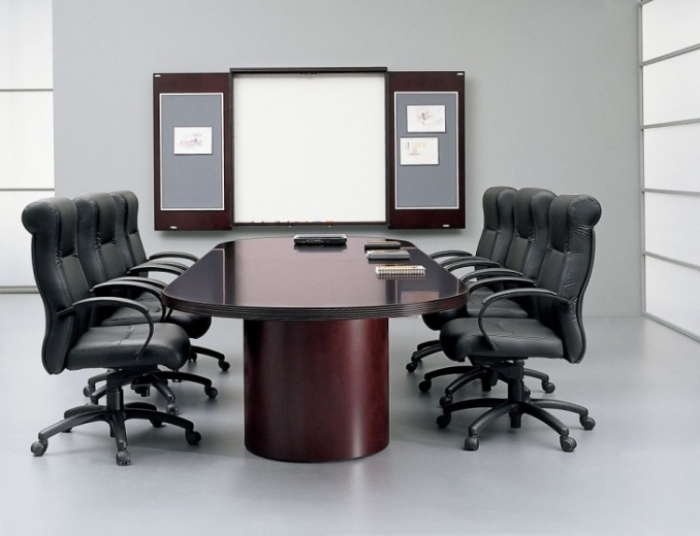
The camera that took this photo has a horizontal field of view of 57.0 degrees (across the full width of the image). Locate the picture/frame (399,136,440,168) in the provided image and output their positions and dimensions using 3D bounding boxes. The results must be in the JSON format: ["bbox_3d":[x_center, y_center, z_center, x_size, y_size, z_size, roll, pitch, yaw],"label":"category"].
[{"bbox_3d":[0.795,-1.364,7.440,0.336,0.259,0.013,0,6,2],"label":"picture/frame"}]

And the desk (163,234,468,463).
[{"bbox_3d":[-0.294,0.520,4.039,1.595,1.038,1.862,-3,10,-16],"label":"desk"}]

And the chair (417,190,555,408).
[{"bbox_3d":[1.106,0.197,5.031,1.093,1.616,1.146,4,19,21],"label":"chair"}]

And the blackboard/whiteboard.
[{"bbox_3d":[-0.512,-1.479,7.488,1.723,1.712,0.171,0,1,-2],"label":"blackboard/whiteboard"}]

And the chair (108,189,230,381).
[{"bbox_3d":[-1.511,0.159,5.274,0.923,1.439,0.906,5,13,-7],"label":"chair"}]

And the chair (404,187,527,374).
[{"bbox_3d":[1.018,0.084,5.666,0.976,1.549,0.972,3,11,33],"label":"chair"}]

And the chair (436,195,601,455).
[{"bbox_3d":[1.310,0.268,4.755,1.360,2.070,1.450,0,1,-1],"label":"chair"}]
